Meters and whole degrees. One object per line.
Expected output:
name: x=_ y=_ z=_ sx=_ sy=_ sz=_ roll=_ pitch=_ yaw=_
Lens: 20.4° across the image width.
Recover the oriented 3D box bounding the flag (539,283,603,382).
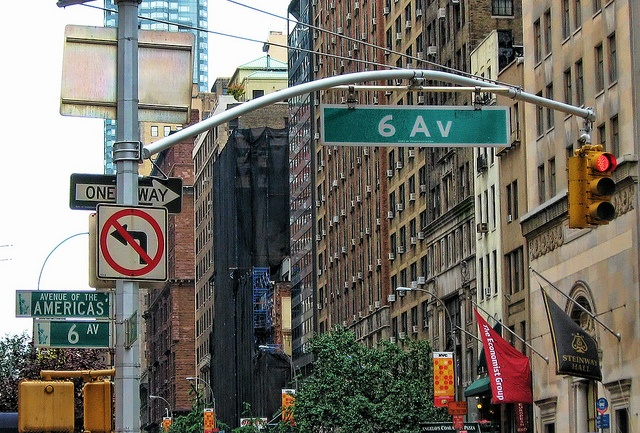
flag: x=13.445 y=6.507 z=95.040 sx=2.493 sy=4.912 sz=4.158 roll=-4 pitch=-4 yaw=5
